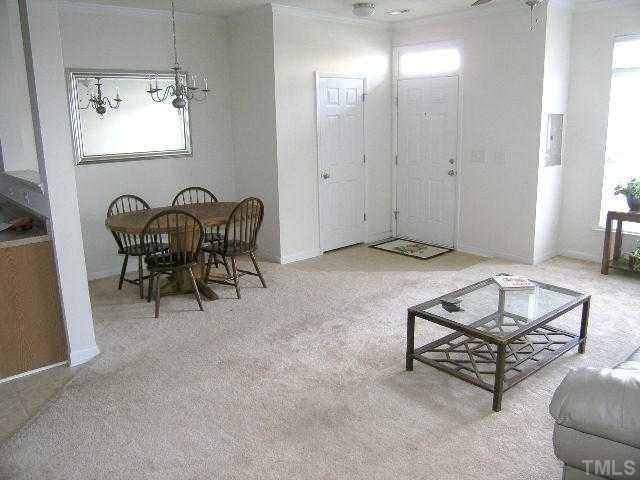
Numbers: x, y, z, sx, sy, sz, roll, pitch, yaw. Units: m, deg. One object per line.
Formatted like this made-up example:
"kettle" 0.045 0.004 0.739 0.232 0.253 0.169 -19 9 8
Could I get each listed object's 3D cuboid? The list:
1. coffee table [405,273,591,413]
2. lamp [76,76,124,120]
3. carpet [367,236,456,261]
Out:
"coffee table" 1.342 0.692 3.479 1.324 0.583 0.770 -13 16 -34
"lamp" -2.427 -1.571 5.086 0.379 0.408 0.409 3 2 -10
"carpet" 1.241 0.111 6.304 1.023 0.088 0.716 8 18 44
